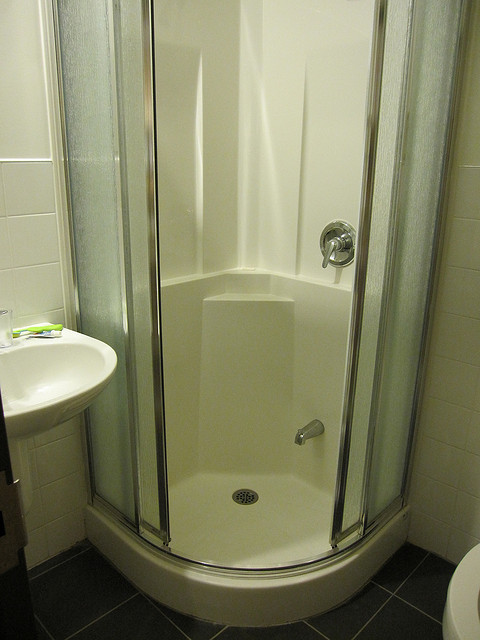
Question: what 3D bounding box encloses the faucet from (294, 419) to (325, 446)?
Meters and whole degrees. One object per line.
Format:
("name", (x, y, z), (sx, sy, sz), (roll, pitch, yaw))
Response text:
("faucet", (0.243, 0.397, 1.778), (0.064, 0.057, 0.115), (14, 27, 30))
